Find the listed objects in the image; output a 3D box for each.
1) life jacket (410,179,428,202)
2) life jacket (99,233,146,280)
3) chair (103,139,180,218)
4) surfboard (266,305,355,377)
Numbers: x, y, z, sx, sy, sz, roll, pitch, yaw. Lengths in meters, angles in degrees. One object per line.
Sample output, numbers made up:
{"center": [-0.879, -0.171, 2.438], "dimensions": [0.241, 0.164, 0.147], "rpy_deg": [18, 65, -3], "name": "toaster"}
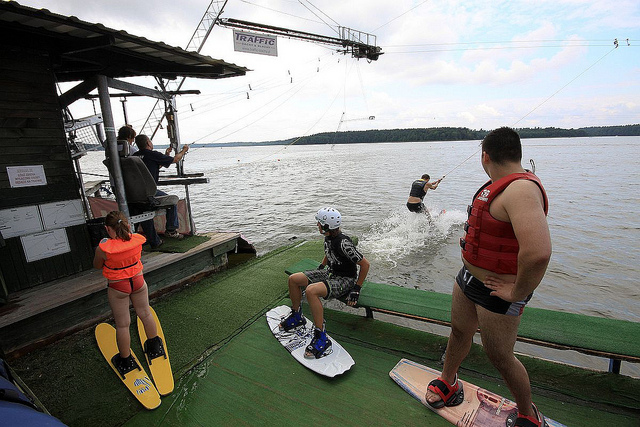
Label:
{"center": [4.293, -1.073, 15.777], "dimensions": [0.625, 0.901, 0.478], "rpy_deg": [2, 16, 12], "name": "life jacket"}
{"center": [-3.562, 0.789, 6.667], "dimensions": [0.711, 0.754, 0.347], "rpy_deg": [-8, 17, -24], "name": "life jacket"}
{"center": [-4.550, -0.895, 9.506], "dimensions": [1.358, 1.682, 1.562], "rpy_deg": [-1, 3, 23], "name": "chair"}
{"center": [-0.384, 2.573, 7.373], "dimensions": [0.761, 0.270, 2.063], "rpy_deg": [-13, 20, -35], "name": "surfboard"}
